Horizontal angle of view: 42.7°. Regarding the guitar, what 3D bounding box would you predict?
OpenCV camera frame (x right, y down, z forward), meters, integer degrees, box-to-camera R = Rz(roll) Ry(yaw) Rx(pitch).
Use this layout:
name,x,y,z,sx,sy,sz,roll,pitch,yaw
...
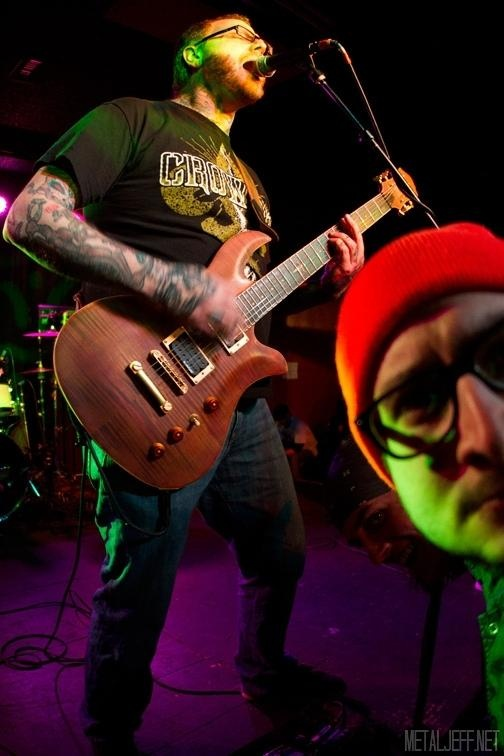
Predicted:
name,x,y,z,sx,sy,sz,roll,pitch,yaw
guitar,-0.126,-0.074,1.757,0.410,0.607,0.733,32,27,24
